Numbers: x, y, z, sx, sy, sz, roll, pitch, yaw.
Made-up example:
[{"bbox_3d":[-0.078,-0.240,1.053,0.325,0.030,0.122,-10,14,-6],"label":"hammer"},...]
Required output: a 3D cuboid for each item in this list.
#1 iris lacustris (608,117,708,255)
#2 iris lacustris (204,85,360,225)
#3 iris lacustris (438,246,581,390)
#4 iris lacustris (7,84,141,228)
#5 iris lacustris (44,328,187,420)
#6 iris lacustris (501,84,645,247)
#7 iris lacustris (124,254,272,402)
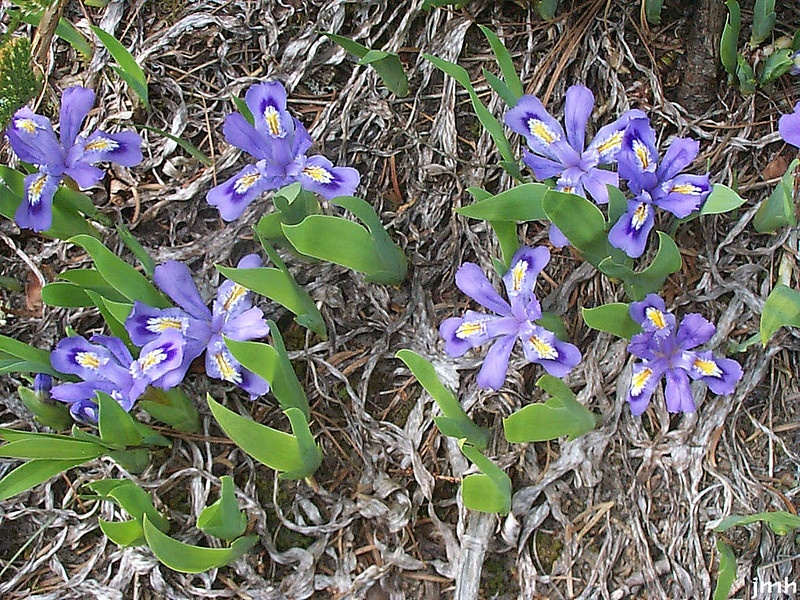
[{"bbox_3d":[0.615,-0.242,1.736,0.291,0.134,0.294,-12,79,5],"label":"iris lacustris"},{"bbox_3d":[-0.326,-0.324,1.746,0.322,0.137,0.384,-40,73,-16],"label":"iris lacustris"},{"bbox_3d":[0.251,0.055,1.772,0.307,0.355,0.372,-3,67,-1],"label":"iris lacustris"},{"bbox_3d":[-0.859,-0.378,1.976,0.362,0.247,0.364,-24,95,-7],"label":"iris lacustris"},{"bbox_3d":[-0.665,0.139,1.774,0.335,0.286,0.135,2,108,28],"label":"iris lacustris"},{"bbox_3d":[0.415,-0.377,1.707,0.392,0.109,0.342,-43,102,-13],"label":"iris lacustris"},{"bbox_3d":[-0.489,0.076,1.744,0.350,0.196,0.290,2,67,0],"label":"iris lacustris"}]
